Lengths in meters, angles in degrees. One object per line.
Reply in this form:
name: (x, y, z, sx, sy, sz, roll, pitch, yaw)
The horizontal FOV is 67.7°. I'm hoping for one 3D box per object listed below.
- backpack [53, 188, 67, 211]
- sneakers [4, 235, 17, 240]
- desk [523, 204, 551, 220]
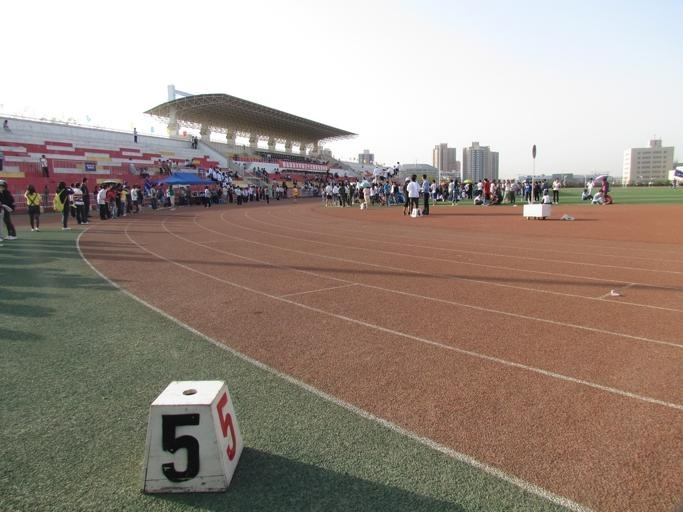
backpack: (-9.854, -1.883, 17.909, 0.421, 0.797, 0.753, -6, 13, -29)
sneakers: (-9.679, -0.498, 14.895, 0.279, 0.102, 0.371, -9, 16, -33)
desk: (7.650, -1.673, 19.722, 0.576, 0.716, 1.182, -4, 13, -20)
